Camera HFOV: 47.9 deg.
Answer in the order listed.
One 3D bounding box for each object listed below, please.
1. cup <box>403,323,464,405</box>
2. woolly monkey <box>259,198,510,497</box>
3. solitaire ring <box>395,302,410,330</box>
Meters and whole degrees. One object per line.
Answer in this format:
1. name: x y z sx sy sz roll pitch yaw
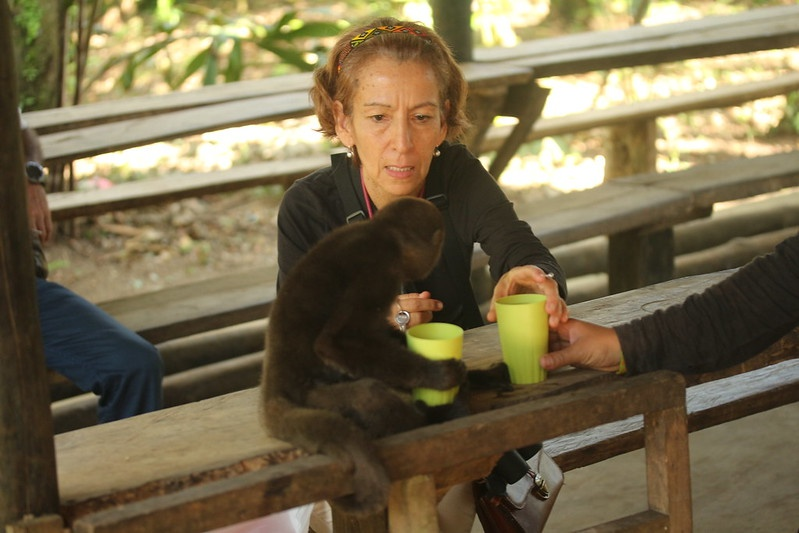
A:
1. cup: 0.097 0.276 2.626 0.183 0.217 0.246 -2 5 -12
2. woolly monkey: -0.133 0.203 2.582 0.525 0.811 0.708 10 22 22
3. solitaire ring: 0.006 0.151 2.745 0.024 0.071 0.065 -7 -5 17
